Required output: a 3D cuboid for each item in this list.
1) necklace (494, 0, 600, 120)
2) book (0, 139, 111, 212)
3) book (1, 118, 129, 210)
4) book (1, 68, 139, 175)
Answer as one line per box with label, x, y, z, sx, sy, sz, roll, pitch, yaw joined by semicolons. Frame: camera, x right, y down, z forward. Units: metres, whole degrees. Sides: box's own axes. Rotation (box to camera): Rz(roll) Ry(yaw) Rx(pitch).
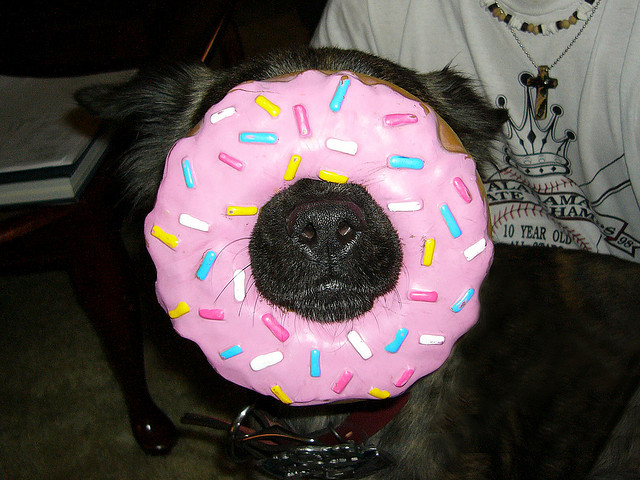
necklace;1.013;-0.802;2.771;0.538;0.715;0.052;11;45;29
book;-1.033;-0.196;2.438;0.272;0.070;0.288;-19;25;5
book;-0.994;-0.255;2.395;0.366;0.092;0.393;-3;49;15
book;-1.064;-0.400;2.644;0.518;0.116;0.562;-8;51;5
